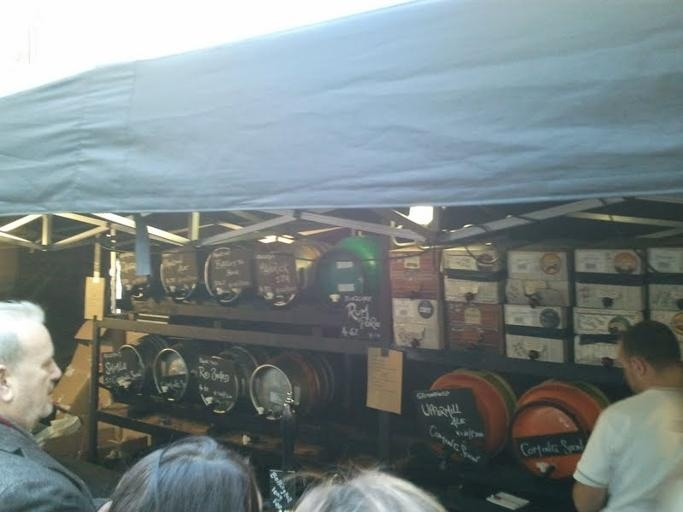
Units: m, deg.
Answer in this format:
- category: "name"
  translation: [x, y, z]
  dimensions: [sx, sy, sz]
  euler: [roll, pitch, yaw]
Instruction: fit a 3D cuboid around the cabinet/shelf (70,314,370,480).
- category: "cabinet/shelf"
  translation: [-1.056, 1.199, 5.896]
  dimensions: [3.282, 1.410, 0.958]
  euler: [-3, 2, 21]
